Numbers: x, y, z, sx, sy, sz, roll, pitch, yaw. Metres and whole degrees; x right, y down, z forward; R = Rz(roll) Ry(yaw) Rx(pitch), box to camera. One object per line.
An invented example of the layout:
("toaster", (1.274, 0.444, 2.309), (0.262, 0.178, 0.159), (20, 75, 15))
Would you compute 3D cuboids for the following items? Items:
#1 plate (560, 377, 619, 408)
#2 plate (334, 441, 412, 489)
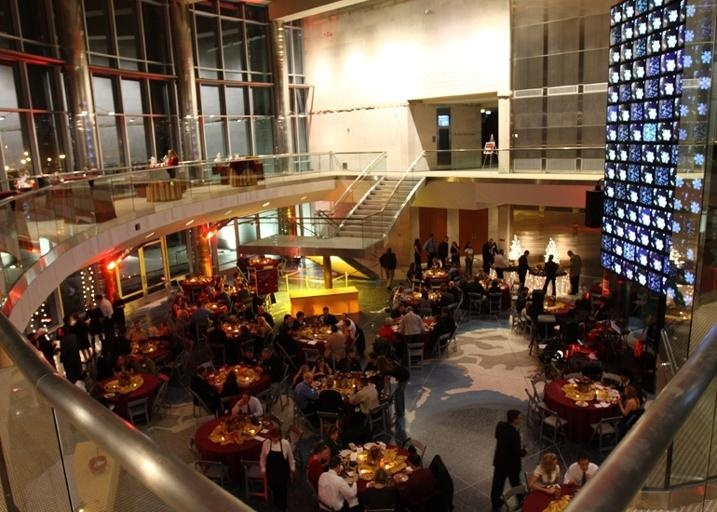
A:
("plate", (4.040, 2.323, 9.303), (0.944, 0.237, 0.791), (-2, 12, 3))
("plate", (0.232, 2.889, 7.631), (1.002, 0.339, 1.189), (-4, 12, -7))
